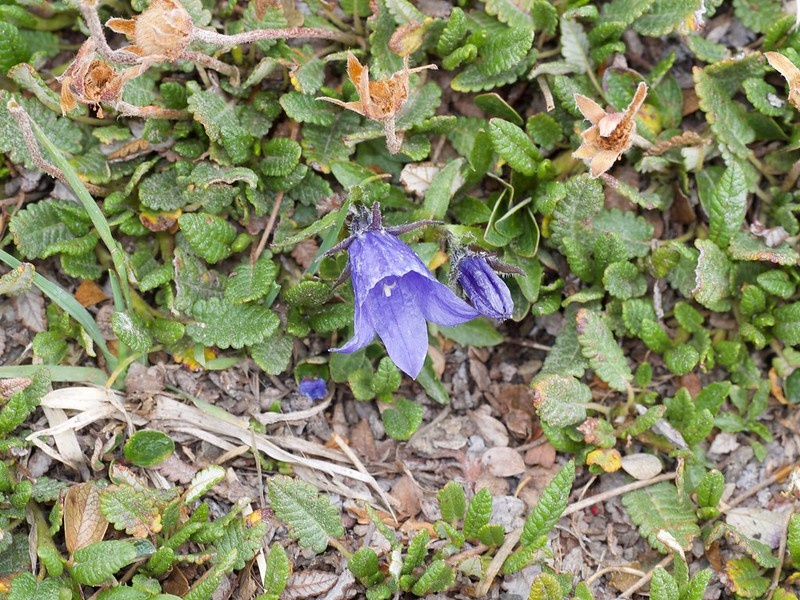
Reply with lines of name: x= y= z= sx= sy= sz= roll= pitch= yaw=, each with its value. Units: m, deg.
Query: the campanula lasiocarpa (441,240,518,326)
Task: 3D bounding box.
campanula lasiocarpa: x=0.376 y=-0.082 z=3.570 sx=0.233 sy=0.221 sz=0.452 roll=-25 pitch=79 yaw=-3
